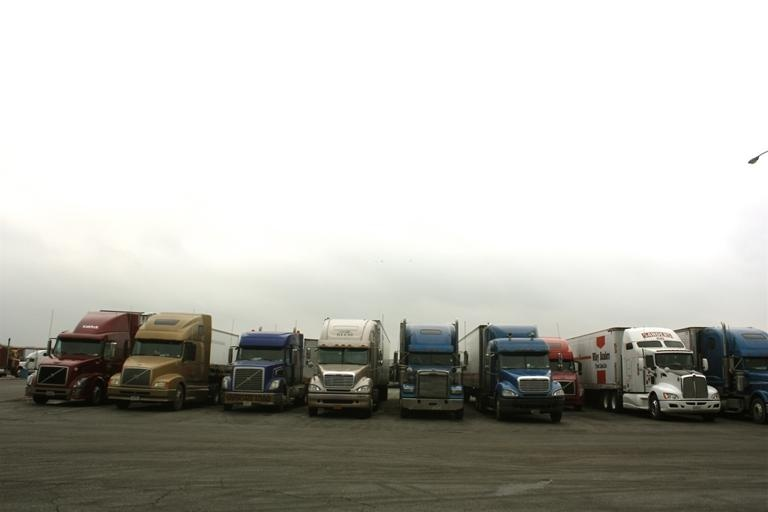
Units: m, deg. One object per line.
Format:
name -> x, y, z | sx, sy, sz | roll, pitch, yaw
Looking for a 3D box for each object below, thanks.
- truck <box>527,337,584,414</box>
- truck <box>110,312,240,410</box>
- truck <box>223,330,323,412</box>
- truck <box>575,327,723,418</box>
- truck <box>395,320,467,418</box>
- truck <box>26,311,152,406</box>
truck -> 8.891, 5.790, 35.853 | 2.237, 3.000, 6.487 | -1, 6, -2
truck -> -10.338, 5.178, 33.042 | 3.449, 3.740, 11.102 | 6, -7, 1
truck -> -5.450, 5.551, 33.189 | 3.531, 3.531, 9.279 | 5, -8, 4
truck -> 13.313, 6.211, 35.191 | 3.482, 4.250, 12.865 | 1, -10, -3
truck -> 1.924, 4.598, 31.680 | 3.118, 3.469, 7.960 | 2, 7, -2
truck -> -13.855, 4.854, 31.767 | 10.141, 3.804, 3.136 | -5, -18, 39
